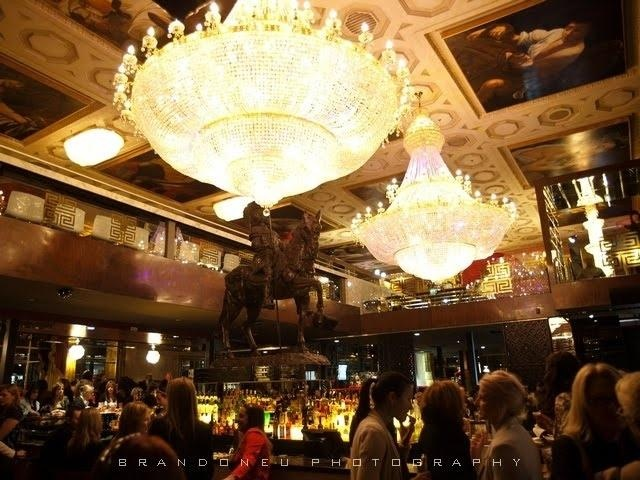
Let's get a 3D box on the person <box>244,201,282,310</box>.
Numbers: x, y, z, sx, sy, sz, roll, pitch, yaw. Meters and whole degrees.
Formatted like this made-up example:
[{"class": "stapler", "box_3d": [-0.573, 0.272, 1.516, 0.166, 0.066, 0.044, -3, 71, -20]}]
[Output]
[{"class": "person", "box_3d": [-0.766, 0.118, 5.609, 0.451, 1.356, 0.657, -2, -19, 5]}]
